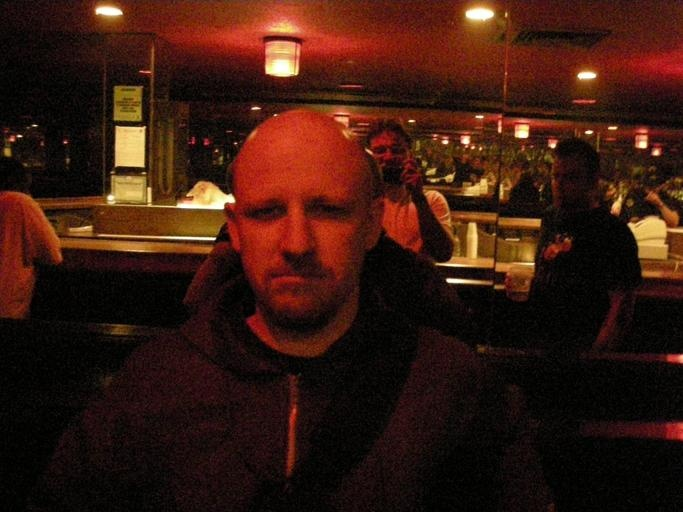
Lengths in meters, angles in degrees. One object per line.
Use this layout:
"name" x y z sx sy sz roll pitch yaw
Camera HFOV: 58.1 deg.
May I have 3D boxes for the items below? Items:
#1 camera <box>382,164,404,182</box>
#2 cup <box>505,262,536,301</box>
"camera" 0.123 -0.198 1.482 0.043 0.029 0.042 0 -2 3
"cup" 0.447 0.065 1.559 0.086 0.080 0.087 3 -6 0
